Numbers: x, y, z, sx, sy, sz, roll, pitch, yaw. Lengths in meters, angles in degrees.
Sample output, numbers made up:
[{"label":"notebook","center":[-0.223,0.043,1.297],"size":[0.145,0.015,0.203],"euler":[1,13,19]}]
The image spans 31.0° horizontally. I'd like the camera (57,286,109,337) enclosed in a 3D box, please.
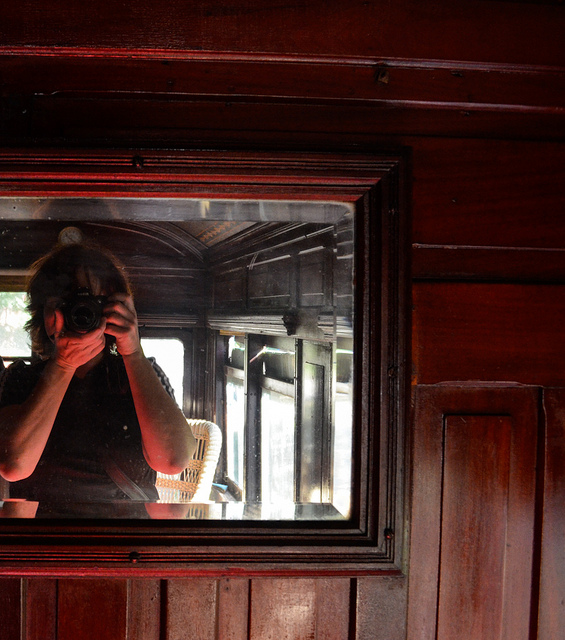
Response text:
[{"label":"camera","center":[-0.274,-0.012,1.396],"size":[0.066,0.069,0.063],"euler":[2,30,-8]}]
